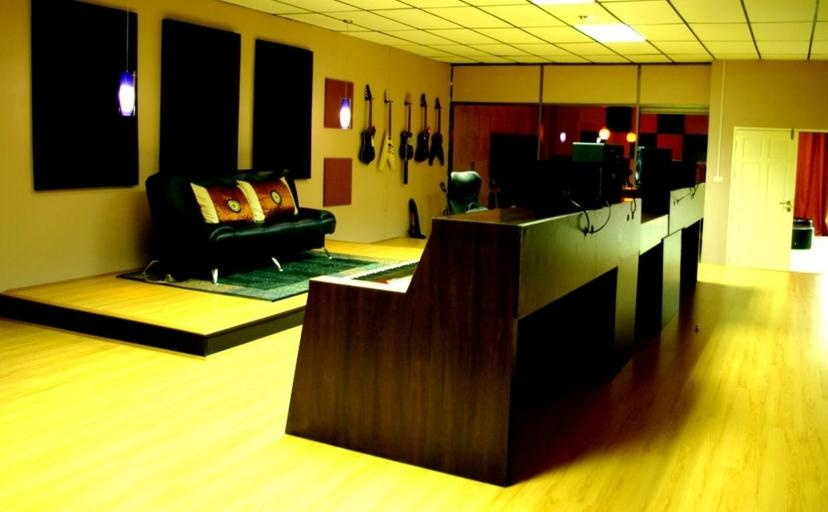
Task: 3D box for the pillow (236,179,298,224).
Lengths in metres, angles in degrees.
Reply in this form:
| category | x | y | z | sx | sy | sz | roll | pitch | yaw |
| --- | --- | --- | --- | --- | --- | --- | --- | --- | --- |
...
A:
| category | x | y | z | sx | sy | sz | roll | pitch | yaw |
| --- | --- | --- | --- | --- | --- | --- | --- | --- | --- |
| pillow | -2.049 | -0.833 | 7.785 | 0.180 | 0.450 | 0.646 | -15 | -1 | 26 |

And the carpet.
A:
| category | x | y | z | sx | sy | sz | roll | pitch | yaw |
| --- | --- | --- | --- | --- | --- | --- | --- | --- | --- |
| carpet | -1.836 | 0.224 | 7.135 | 3.023 | 0.159 | 1.779 | -7 | 18 | -30 |

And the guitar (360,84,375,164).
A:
| category | x | y | z | sx | sy | sz | roll | pitch | yaw |
| --- | --- | --- | --- | --- | --- | --- | --- | --- | --- |
| guitar | -0.839 | -2.386 | 10.348 | 0.188 | 1.421 | 0.453 | 6 | 14 | 20 |

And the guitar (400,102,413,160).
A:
| category | x | y | z | sx | sy | sz | roll | pitch | yaw |
| --- | --- | --- | --- | --- | --- | --- | --- | --- | --- |
| guitar | -0.125 | -2.475 | 11.289 | 0.181 | 1.184 | 0.485 | 9 | 15 | 30 |

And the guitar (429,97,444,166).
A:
| category | x | y | z | sx | sy | sz | roll | pitch | yaw |
| --- | --- | --- | --- | --- | --- | --- | --- | --- | --- |
| guitar | 0.509 | -2.632 | 12.169 | 0.185 | 1.441 | 0.662 | 7 | 15 | 24 |

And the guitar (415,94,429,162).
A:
| category | x | y | z | sx | sy | sz | roll | pitch | yaw |
| --- | --- | --- | --- | --- | --- | --- | --- | --- | --- |
| guitar | 0.176 | -2.620 | 11.692 | 0.207 | 1.404 | 0.496 | 5 | 14 | 16 |

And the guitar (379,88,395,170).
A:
| category | x | y | z | sx | sy | sz | roll | pitch | yaw |
| --- | --- | --- | --- | --- | --- | --- | --- | --- | --- |
| guitar | -0.519 | -2.368 | 10.791 | 0.164 | 1.447 | 0.535 | 8 | 15 | 27 |

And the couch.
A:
| category | x | y | z | sx | sy | sz | roll | pitch | yaw |
| --- | --- | --- | --- | --- | --- | --- | --- | --- | --- |
| couch | -2.191 | -0.478 | 7.670 | 1.125 | 1.250 | 2.373 | 6 | 11 | 25 |
